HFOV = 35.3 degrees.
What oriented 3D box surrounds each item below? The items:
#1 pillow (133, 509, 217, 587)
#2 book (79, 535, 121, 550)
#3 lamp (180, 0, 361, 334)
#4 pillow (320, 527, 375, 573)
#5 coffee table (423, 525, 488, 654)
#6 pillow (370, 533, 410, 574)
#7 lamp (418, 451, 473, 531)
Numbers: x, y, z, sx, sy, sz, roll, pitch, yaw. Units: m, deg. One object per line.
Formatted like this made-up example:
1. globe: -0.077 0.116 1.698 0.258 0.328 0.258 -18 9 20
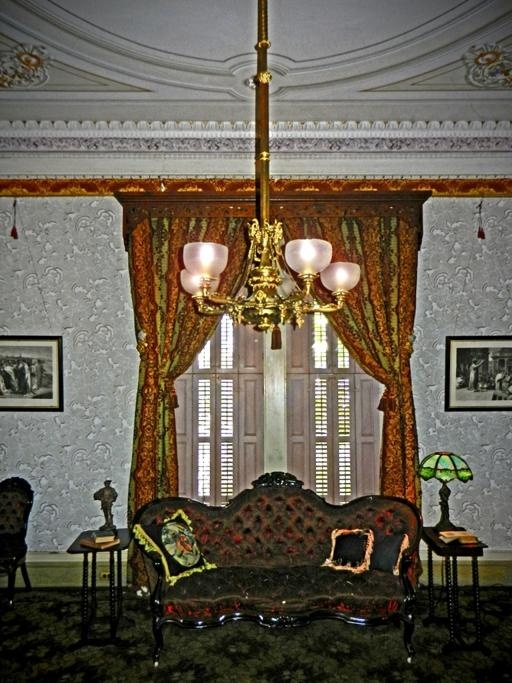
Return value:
1. pillow: -0.640 1.538 5.981 0.444 0.379 0.619 10 15 38
2. book: -1.174 1.489 6.030 0.289 0.083 0.211 -3 12 -13
3. lamp: 0.188 -0.989 5.760 1.293 2.571 2.584 0 12 2
4. pillow: 0.722 1.583 6.129 0.323 0.293 0.094 -2 -29 31
5. coffee table: 1.494 1.903 6.111 0.350 0.652 0.812 -1 -3 4
6. pillow: 0.992 1.571 6.009 0.293 0.254 0.084 -10 -37 34
7. lamp: 1.439 1.160 6.208 0.347 0.623 0.279 -4 13 -15
